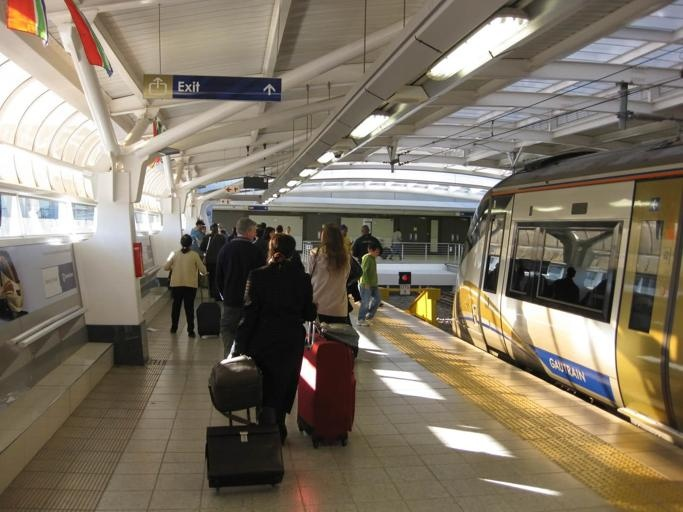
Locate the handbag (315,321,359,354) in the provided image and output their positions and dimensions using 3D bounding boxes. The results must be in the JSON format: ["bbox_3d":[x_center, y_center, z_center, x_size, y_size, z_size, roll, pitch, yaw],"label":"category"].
[{"bbox_3d":[-0.025,0.851,4.745,0.449,0.144,0.418,13,9,-10],"label":"handbag"}]

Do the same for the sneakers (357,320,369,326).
[{"bbox_3d":[0.564,1.703,11.003,0.268,0.165,0.108,-6,12,-23],"label":"sneakers"}]

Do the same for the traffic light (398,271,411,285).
[{"bbox_3d":[2.713,0.944,18.362,0.444,0.463,0.647,2,3,-1],"label":"traffic light"}]

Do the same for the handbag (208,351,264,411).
[{"bbox_3d":[-0.956,1.132,4.031,0.499,0.405,0.492,-1,2,-25],"label":"handbag"}]
